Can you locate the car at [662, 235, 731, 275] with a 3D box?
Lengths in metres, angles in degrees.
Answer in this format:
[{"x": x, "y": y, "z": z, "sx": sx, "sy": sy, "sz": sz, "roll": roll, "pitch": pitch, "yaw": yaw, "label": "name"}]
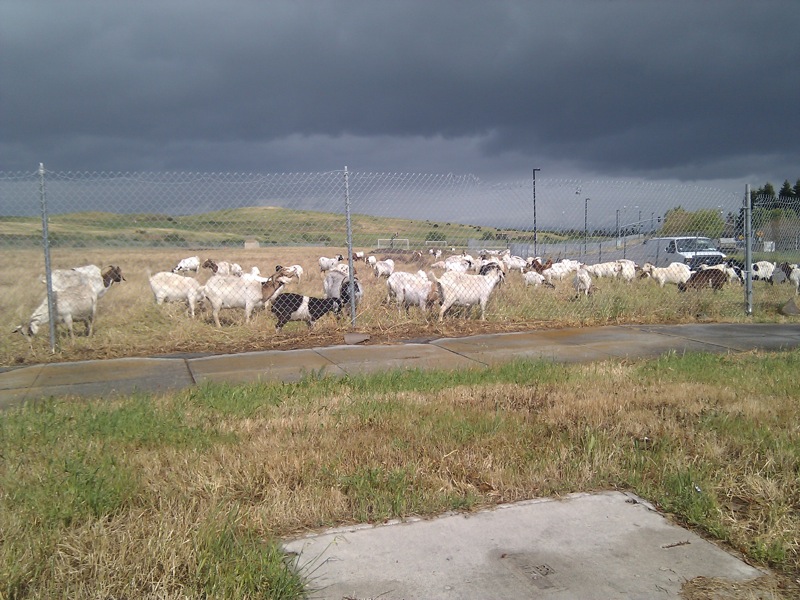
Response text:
[{"x": 10.270, "y": -1.647, "z": 26.793, "sx": 1.733, "sy": 1.533, "sz": 2.761, "roll": -1, "pitch": 2, "yaw": -2, "label": "car"}]
